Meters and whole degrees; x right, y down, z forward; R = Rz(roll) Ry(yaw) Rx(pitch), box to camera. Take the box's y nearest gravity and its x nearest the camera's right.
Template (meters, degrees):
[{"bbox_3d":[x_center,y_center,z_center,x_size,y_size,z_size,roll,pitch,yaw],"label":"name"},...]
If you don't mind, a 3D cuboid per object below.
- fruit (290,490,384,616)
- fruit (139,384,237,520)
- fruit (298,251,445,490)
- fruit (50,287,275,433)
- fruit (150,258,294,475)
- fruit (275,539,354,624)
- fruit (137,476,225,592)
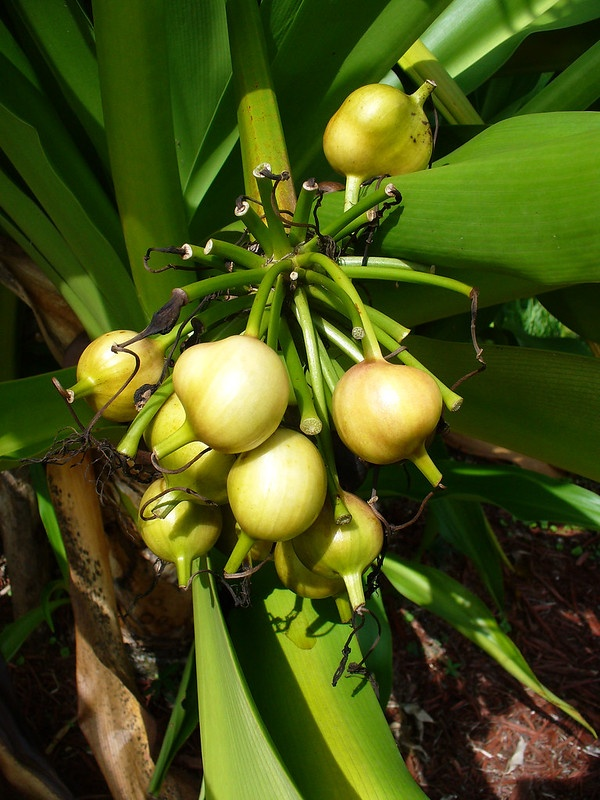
[{"bbox_3d":[0.042,0.121,0.581,0.070,0.105,0.071,-14,-1,-37],"label":"fruit"},{"bbox_3d":[-0.074,0.042,0.596,0.089,0.097,0.089,-18,-7,13],"label":"fruit"},{"bbox_3d":[0.059,-0.027,0.534,0.082,0.082,0.192,-13,71,-34],"label":"fruit"},{"bbox_3d":[-0.118,-0.037,0.593,0.170,0.068,0.068,-31,32,6],"label":"fruit"},{"bbox_3d":[-0.045,-0.014,0.482,0.061,0.048,0.124,35,63,21],"label":"fruit"},{"bbox_3d":[0.014,0.171,0.646,0.060,0.029,0.068,4,1,11],"label":"fruit"},{"bbox_3d":[-0.110,0.121,0.630,0.064,0.094,0.064,-17,18,-34],"label":"fruit"}]
